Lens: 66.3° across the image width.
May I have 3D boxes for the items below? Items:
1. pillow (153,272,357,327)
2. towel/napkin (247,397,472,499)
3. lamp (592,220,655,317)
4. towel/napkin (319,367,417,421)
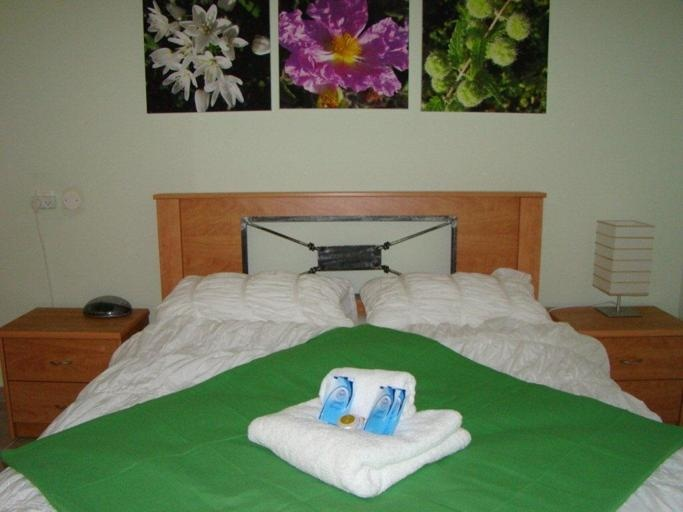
[{"bbox_3d":[-0.412,0.222,2.659,0.698,0.160,0.418,2,6,1],"label":"pillow"},{"bbox_3d":[-0.020,0.586,1.617,0.348,0.093,0.357,0,1,42],"label":"towel/napkin"},{"bbox_3d":[1.529,0.067,2.904,0.313,0.497,0.225,14,21,39],"label":"lamp"},{"bbox_3d":[0.101,0.454,1.804,0.199,0.074,0.197,-1,5,15],"label":"towel/napkin"}]
